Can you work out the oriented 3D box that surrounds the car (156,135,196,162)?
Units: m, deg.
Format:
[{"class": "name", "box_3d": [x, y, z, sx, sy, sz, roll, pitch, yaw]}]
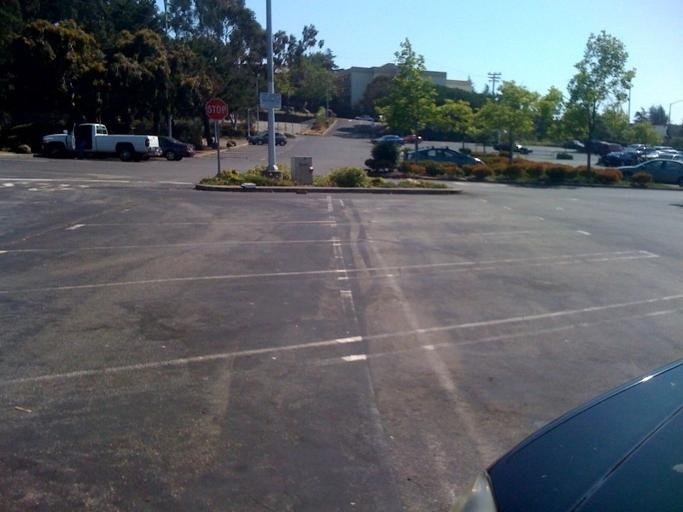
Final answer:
[{"class": "car", "box_3d": [-11.728, -7.472, 39.921, 2.612, 1.166, 1.359, 6, 11, -4]}]

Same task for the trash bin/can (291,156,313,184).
[{"class": "trash bin/can", "box_3d": [-1.637, -3.457, 23.392, 0.874, 1.118, 0.967, 0, 15, -8]}]

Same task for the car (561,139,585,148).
[{"class": "car", "box_3d": [40.965, -19.482, 100.179, 2.571, 1.523, 8.438, 4, 16, 7]}]
